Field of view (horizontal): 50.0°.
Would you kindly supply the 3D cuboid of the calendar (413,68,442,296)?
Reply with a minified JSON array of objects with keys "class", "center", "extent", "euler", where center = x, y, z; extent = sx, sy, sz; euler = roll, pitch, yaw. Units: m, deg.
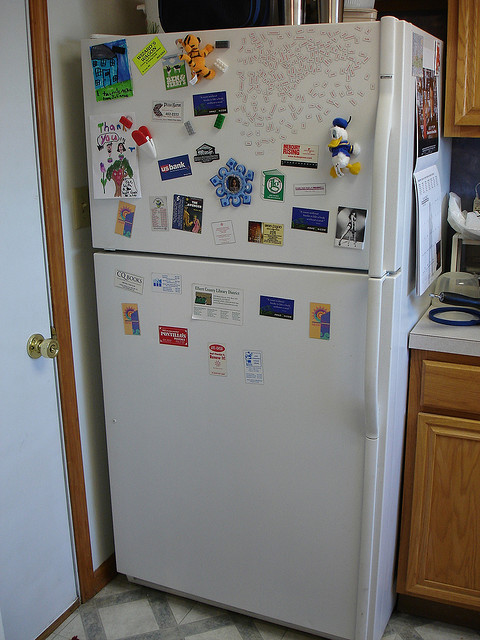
[{"class":"calendar","center":[0.487,-0.381,1.336],"extent":[0.020,0.581,0.376],"euler":[0,16,30]}]

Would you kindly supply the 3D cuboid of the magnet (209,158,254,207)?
[{"class":"magnet","center":[-0.020,-0.316,1.182],"extent":[0.117,0.107,0.023],"euler":[11,20,37]}]

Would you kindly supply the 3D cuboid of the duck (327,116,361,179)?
[{"class":"duck","center":[0.203,-0.349,1.039],"extent":[0.068,0.119,0.058],"euler":[8,13,44]}]

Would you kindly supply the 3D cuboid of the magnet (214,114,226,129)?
[{"class":"magnet","center":[-0.045,-0.447,1.160],"extent":[0.017,0.030,0.026],"euler":[5,4,14]}]

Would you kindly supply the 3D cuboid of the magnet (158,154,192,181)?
[{"class":"magnet","center":[-0.157,-0.369,1.242],"extent":[0.089,0.055,0.009],"euler":[8,18,31]}]

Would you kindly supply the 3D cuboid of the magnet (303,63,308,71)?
[{"class":"magnet","center":[0.132,-0.513,1.039],"extent":[0.002,0.009,0.008],"euler":[2,-1,-24]}]

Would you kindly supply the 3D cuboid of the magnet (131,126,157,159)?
[{"class":"magnet","center":[-0.229,-0.420,1.241],"extent":[0.042,0.077,0.024],"euler":[-39,24,-22]}]

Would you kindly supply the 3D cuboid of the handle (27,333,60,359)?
[{"class":"handle","center":[-0.518,0.069,1.365],"extent":[0.048,0.087,0.075],"euler":[5,4,26]}]

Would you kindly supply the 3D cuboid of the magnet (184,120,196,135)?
[{"class":"magnet","center":[-0.116,-0.446,1.196],"extent":[0.019,0.033,0.008],"euler":[-2,12,28]}]

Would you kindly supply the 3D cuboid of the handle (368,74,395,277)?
[{"class":"handle","center":[0.261,-0.275,1.022],"extent":[0.048,0.313,0.057],"euler":[8,23,18]}]

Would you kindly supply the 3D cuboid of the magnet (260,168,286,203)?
[{"class":"magnet","center":[0.073,-0.300,1.140],"extent":[0.054,0.079,0.065],"euler":[9,17,27]}]

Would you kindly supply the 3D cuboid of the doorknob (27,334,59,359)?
[{"class":"doorknob","center":[-0.521,0.068,1.371],"extent":[0.033,0.073,0.092],"euler":[5,20,24]}]

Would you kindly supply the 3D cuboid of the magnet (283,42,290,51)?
[{"class":"magnet","center":[0.094,-0.555,1.046],"extent":[0.007,0.016,0.003],"euler":[-3,11,28]}]

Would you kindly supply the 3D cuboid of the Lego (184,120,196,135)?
[{"class":"Lego","center":[-0.116,-0.447,1.196],"extent":[0.028,0.029,0.005],"euler":[9,18,32]}]
